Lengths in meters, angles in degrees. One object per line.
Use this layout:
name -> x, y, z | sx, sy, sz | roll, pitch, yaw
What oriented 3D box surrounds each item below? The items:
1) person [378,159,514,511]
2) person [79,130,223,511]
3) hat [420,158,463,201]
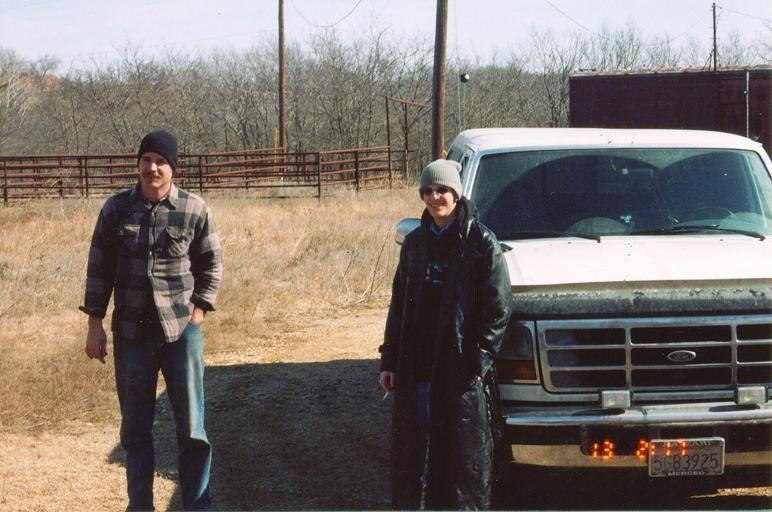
person -> 0.457, 0.658, 8.035 | 1.062, 2.710, 0.867 | 3, 14, 9
person -> -1.930, 0.598, 8.292 | 1.115, 3.198, 0.872 | -3, 14, -12
hat -> 0.461, -0.660, 8.217 | 0.249, 0.310, 0.351 | -4, -3, 41
